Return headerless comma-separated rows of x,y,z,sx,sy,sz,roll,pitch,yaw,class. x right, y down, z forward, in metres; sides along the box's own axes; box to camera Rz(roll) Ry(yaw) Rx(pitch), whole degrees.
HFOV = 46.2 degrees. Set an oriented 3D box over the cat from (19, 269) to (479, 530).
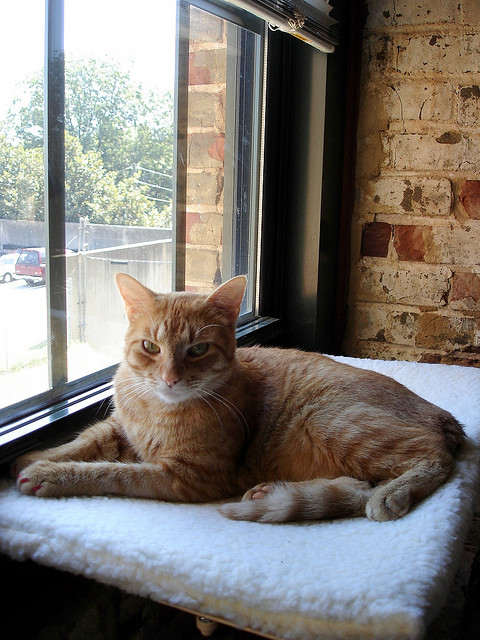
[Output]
0.016,0.097,0.894,0.567,0.250,0.399,1,-3,-5,cat
